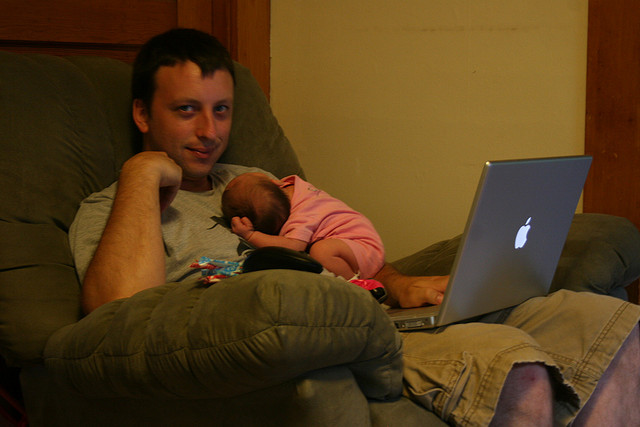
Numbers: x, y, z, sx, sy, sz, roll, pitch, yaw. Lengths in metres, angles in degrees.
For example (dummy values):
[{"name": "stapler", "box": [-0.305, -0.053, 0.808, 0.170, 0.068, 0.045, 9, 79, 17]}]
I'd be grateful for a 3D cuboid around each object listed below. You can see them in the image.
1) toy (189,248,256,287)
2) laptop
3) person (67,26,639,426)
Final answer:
[{"name": "toy", "box": [-0.232, 0.136, 1.498, 0.135, 0.044, 0.105, 3, 4, -38]}, {"name": "laptop", "box": [0.430, 0.062, 1.678, 0.486, 0.344, 0.485, -5, 4, -35]}, {"name": "person", "box": [-0.053, 0.092, 1.715, 1.476, 0.875, 0.971, -6, 5, 39]}]
